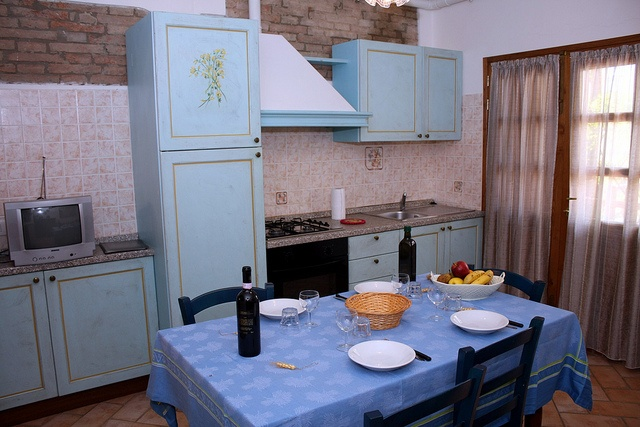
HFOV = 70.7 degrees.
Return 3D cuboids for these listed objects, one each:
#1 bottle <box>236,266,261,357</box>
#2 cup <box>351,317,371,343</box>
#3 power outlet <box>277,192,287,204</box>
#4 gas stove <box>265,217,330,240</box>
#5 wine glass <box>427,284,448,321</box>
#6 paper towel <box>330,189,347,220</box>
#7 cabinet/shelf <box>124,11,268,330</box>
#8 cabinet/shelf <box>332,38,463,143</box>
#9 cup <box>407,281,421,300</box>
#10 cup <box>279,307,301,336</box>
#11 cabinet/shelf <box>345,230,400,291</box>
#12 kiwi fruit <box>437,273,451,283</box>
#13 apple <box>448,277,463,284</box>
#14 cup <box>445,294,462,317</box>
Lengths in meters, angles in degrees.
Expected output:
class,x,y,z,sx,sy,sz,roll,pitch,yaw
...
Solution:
class,x,y,z,sx,sy,sz,roll,pitch,yaw
bottle,-0.389,0.507,2.393,0.132,0.497,0.175,-5,11,-10
cup,0.234,0.647,2.513,0.145,0.128,0.141,0,2,0
power outlet,-0.385,-0.157,4.520,0.123,0.116,0.018,-4,9,-37
gas stove,-0.238,0.117,4.270,0.641,0.062,0.649,-6,10,-16
wine glass,0.720,0.559,2.857,0.154,0.244,0.150,-4,12,2
paper towel,0.187,-0.089,4.650,0.135,0.303,0.134,-3,11,1
cabinet/shelf,-1.062,-0.277,4.046,0.948,2.883,0.788,-14,36,-32
cabinet/shelf,0.909,-1.278,4.896,1.524,0.998,0.447,-8,11,-33
cup,0.630,0.514,3.002,0.105,0.094,0.104,-2,5,0
cup,-0.171,0.638,2.650,0.131,0.129,0.141,1,3,0
cabinet/shelf,0.450,0.416,4.055,0.516,0.707,0.370,-4,7,-35
kiwi fruit,0.850,0.440,3.073,0.054,0.041,0.073,-15,-6,41
apple,0.905,0.448,2.982,0.052,0.051,0.050,-11,12,30
cup,0.840,0.582,2.850,0.104,0.097,0.102,-2,6,0
